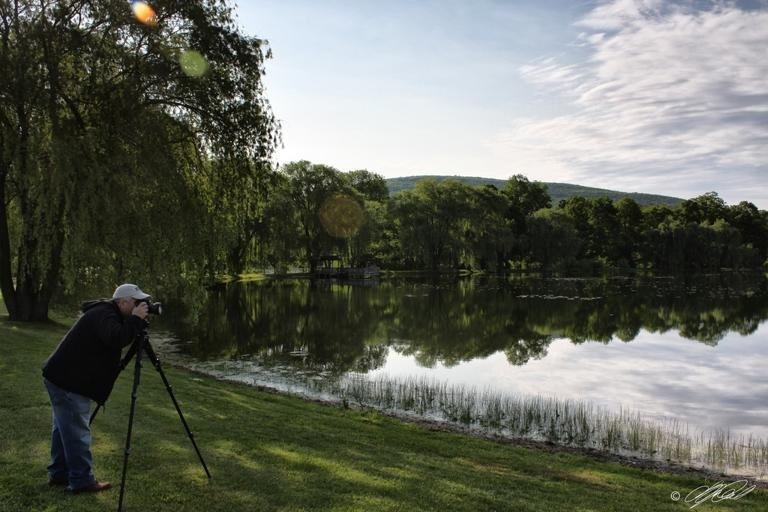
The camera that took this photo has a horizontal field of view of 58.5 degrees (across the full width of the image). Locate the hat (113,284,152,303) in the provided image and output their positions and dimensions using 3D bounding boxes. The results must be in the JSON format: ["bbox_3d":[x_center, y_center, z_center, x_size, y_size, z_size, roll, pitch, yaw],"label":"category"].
[{"bbox_3d":[-6.360,0.912,17.115,0.639,0.401,0.505,0,0,-15],"label":"hat"}]
